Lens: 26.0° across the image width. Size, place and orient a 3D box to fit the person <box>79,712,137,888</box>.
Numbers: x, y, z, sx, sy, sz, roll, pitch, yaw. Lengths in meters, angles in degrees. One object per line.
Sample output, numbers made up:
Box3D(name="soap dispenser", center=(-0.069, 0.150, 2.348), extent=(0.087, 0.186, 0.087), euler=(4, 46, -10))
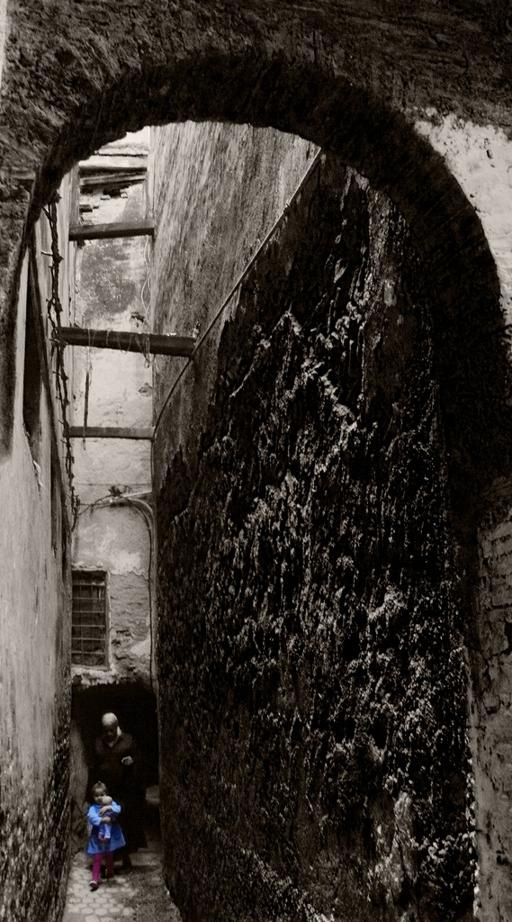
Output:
Box3D(name="person", center=(-0.991, 2.376, 7.435), extent=(0.224, 0.579, 1.102), euler=(-3, 37, -6))
